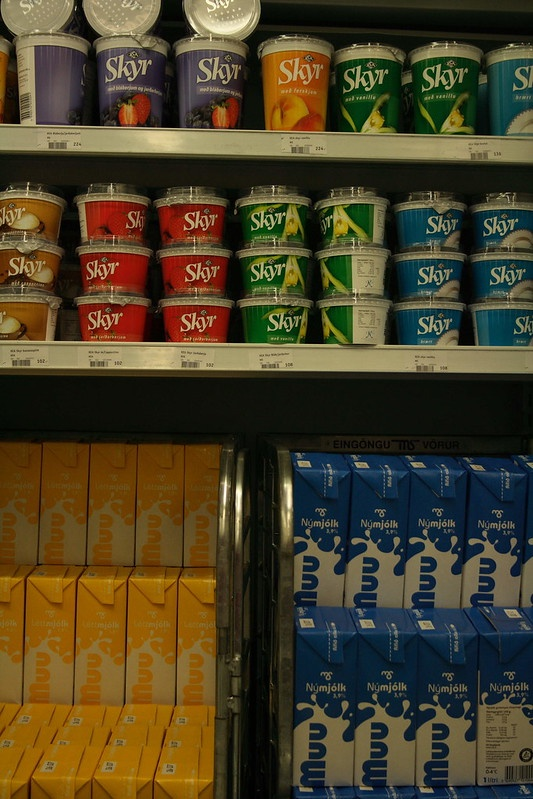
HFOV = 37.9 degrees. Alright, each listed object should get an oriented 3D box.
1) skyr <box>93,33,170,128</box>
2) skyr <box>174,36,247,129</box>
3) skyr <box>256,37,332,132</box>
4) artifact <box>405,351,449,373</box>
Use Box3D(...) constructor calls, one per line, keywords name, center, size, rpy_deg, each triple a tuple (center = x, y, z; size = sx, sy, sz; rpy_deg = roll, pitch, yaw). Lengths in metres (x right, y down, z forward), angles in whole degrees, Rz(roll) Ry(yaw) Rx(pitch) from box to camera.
Box3D(name="skyr", center=(-0.277, -0.639, 1.626), size=(0.124, 0.203, 0.123), rpy_deg=(-1, 8, -3))
Box3D(name="skyr", center=(-0.121, -0.657, 1.641), size=(0.170, 0.177, 0.172), rpy_deg=(-1, 12, -12))
Box3D(name="skyr", center=(0.063, -0.659, 1.652), size=(0.179, 0.194, 0.178), rpy_deg=(-5, 13, -22))
Box3D(name="artifact", center=(0.323, -0.076, 1.556), size=(0.084, 0.042, 0.014), rpy_deg=(-3, 1, -13))
